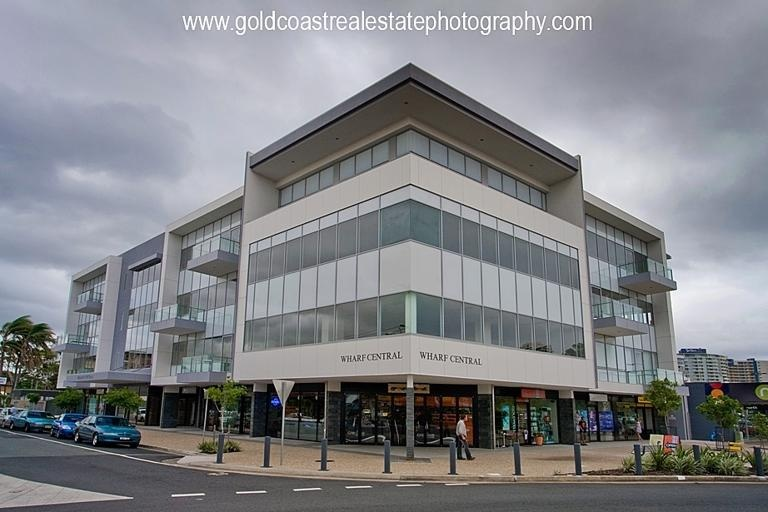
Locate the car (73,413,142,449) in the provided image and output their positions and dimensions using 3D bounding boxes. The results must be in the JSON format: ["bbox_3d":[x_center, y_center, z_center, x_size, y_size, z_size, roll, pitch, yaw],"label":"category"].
[{"bbox_3d":[-15.960,10.062,29.147,4.257,1.764,1.927,-13,-25,32],"label":"car"}]

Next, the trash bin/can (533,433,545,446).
[{"bbox_3d":[10.311,12.134,33.626,0.883,0.712,0.350,14,-24,-32],"label":"trash bin/can"}]

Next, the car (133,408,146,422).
[{"bbox_3d":[-23.160,15.100,47.950,1.113,0.860,1.859,11,-22,-36],"label":"car"}]
